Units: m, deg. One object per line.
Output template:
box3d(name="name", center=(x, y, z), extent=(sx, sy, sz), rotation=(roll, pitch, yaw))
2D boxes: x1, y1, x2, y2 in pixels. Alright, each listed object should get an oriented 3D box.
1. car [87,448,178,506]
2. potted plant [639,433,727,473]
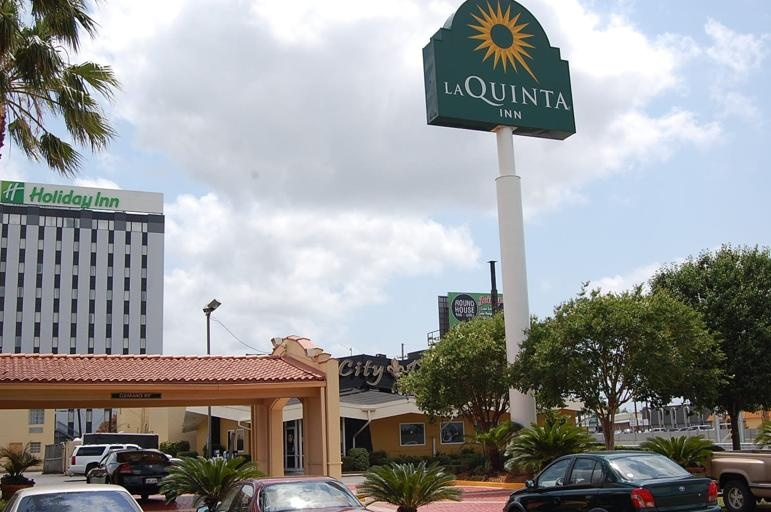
box3d(name="car", center=(-10.517, 9.689, 34.448), extent=(2.598, 1.967, 5.888), rotation=(6, -10, -29))
box3d(name="potted plant", center=(10.951, 7.190, 30.612), extent=(1.998, 1.061, 1.983), rotation=(-1, -10, -5))
